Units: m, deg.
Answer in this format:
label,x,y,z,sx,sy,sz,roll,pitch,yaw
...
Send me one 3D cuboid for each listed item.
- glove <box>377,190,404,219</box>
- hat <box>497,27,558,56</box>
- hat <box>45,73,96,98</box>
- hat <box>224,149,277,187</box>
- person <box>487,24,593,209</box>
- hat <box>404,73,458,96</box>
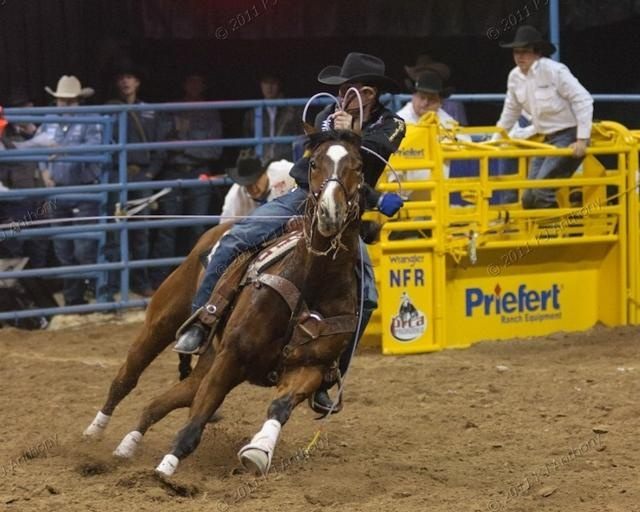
label,x,y,z,sx,sy,sz,roll,pitch,yaw
glove,0.605,-0.450,10.858,0.186,0.199,0.214,-2,6,-31
hat,2.433,-2.481,14.416,0.587,0.316,0.395,1,5,6
hat,-3.156,-2.119,15.606,0.476,0.169,0.491,0,-5,-3
hat,-0.731,-0.922,12.614,0.354,0.172,0.394,-7,32,24
person,2.582,-1.604,14.485,0.685,2.132,1.227,-4,7,-42
hat,1.279,-2.029,14.894,0.485,0.164,0.484,6,3,-8
